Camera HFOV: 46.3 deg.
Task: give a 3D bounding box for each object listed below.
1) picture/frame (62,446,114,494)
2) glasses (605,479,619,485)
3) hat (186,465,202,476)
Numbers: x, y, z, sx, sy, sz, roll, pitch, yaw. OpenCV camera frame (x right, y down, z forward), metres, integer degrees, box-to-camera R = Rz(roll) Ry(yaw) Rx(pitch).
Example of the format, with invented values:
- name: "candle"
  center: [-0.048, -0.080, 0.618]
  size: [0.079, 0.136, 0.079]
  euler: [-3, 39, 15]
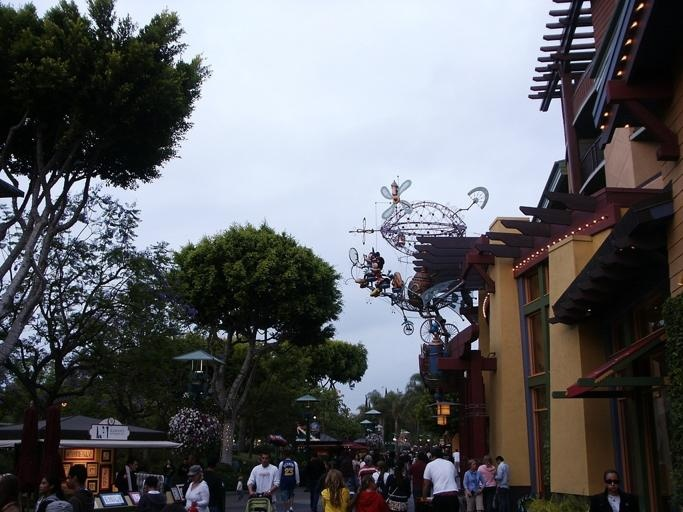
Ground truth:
- name: "picture/frame"
  center: [-8.965, 7.810, 29.067]
  size: [0.668, 1.589, 2.229]
  euler: [-14, -24, 35]
- name: "glasses"
  center: [5.724, 4.815, 16.860]
  size: [0.243, 0.135, 0.152]
  euler: [-7, -21, 16]
- name: "hat"
  center: [-3.299, 4.962, 18.326]
  size: [0.260, 0.147, 0.194]
  euler: [11, -15, -35]
